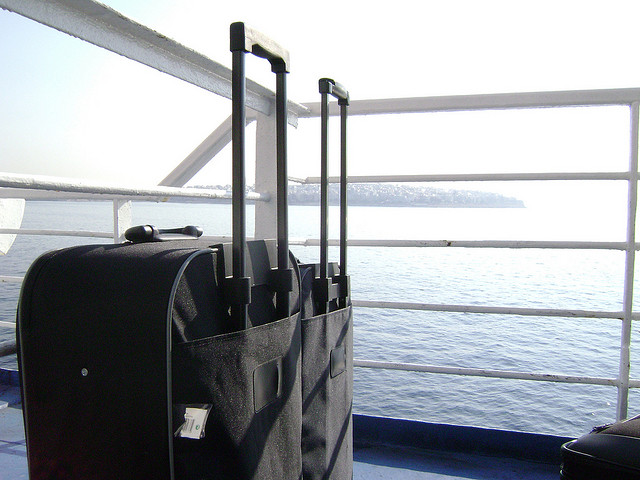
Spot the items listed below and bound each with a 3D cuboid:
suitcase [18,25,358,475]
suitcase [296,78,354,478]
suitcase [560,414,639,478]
[{"bbox_3d":[-0.229,0.077,1.277,0.366,0.995,0.775,3,0,42],"label":"suitcase"},{"bbox_3d":[0.020,0.120,1.462,0.130,1.096,0.327,3,0,14],"label":"suitcase"},{"bbox_3d":[0.712,0.518,1.351,0.188,0.054,0.130,-1,1,-5],"label":"suitcase"}]
